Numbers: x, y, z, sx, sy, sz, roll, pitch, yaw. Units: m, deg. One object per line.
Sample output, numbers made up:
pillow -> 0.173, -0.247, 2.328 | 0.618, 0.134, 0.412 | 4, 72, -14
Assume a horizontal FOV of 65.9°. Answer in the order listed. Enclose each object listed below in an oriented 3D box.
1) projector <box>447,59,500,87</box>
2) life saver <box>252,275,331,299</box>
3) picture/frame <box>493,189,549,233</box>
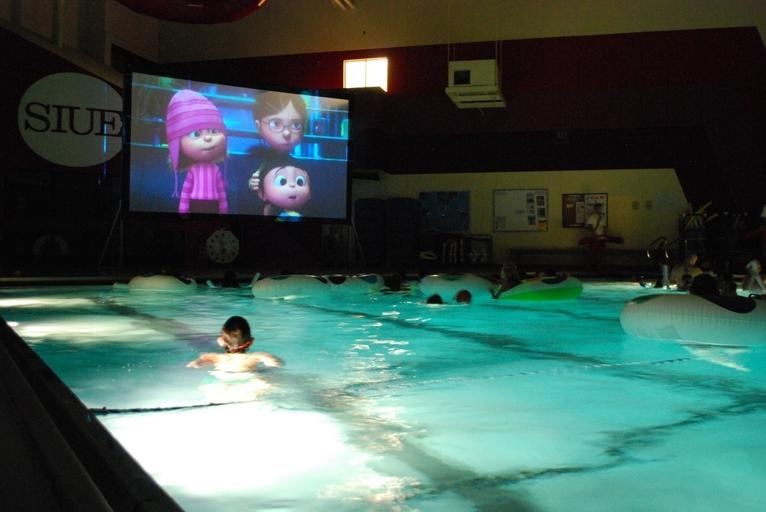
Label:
projector -> 1.535, -3.147, 10.083 | 0.733, 0.374, 0.489 | 1, 3, 15
life saver -> -1.199, 0.400, 7.806 | 1.017, 0.313, 0.258 | 2, 5, -11
picture/frame -> 3.279, -1.109, 14.163 | 1.375, 1.010, 0.132 | -1, -1, -12
